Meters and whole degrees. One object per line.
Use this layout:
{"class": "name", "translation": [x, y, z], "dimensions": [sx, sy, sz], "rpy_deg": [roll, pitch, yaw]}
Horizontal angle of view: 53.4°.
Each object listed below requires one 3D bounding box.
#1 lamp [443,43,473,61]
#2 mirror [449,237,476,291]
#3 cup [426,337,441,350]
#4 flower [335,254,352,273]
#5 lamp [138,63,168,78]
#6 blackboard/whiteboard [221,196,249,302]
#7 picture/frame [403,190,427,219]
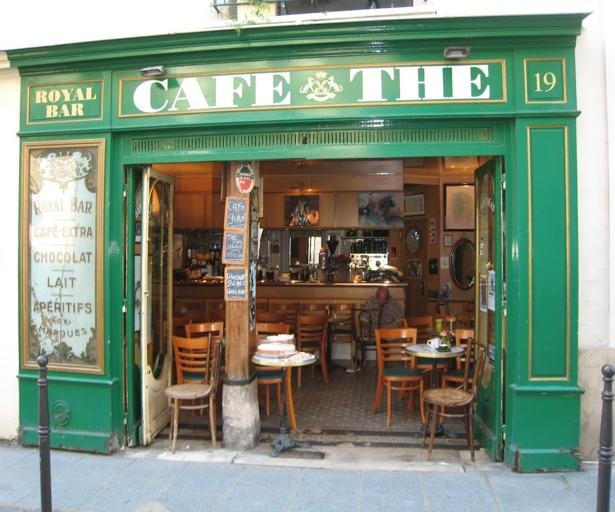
{"class": "lamp", "translation": [1.393, -1.899, 5.729], "dimensions": [0.157, 0.064, 0.149], "rpy_deg": [1, 0, -3]}
{"class": "mirror", "translation": [3.088, 0.165, 12.280], "dimensions": [0.485, 1.060, 0.233], "rpy_deg": [2, 6, 26]}
{"class": "cup", "translation": [1.355, 0.943, 6.584], "dimensions": [0.122, 0.123, 0.081], "rpy_deg": [1, -1, 7]}
{"class": "flower", "translation": [0.651, 0.123, 11.513], "dimensions": [0.272, 0.309, 0.523], "rpy_deg": [0, 6, 2]}
{"class": "lamp", "translation": [-1.543, -1.830, 6.063], "dimensions": [0.254, 0.122, 0.122], "rpy_deg": [1, 6, 16]}
{"class": "blackboard/whiteboard", "translation": [-0.725, -0.072, 6.223], "dimensions": [0.266, 1.059, 0.226], "rpy_deg": [-1, 5, -7]}
{"class": "picture/frame", "translation": [2.298, -1.094, 13.013], "dimensions": [0.043, 0.544, 0.603], "rpy_deg": [1, -7, -24]}
